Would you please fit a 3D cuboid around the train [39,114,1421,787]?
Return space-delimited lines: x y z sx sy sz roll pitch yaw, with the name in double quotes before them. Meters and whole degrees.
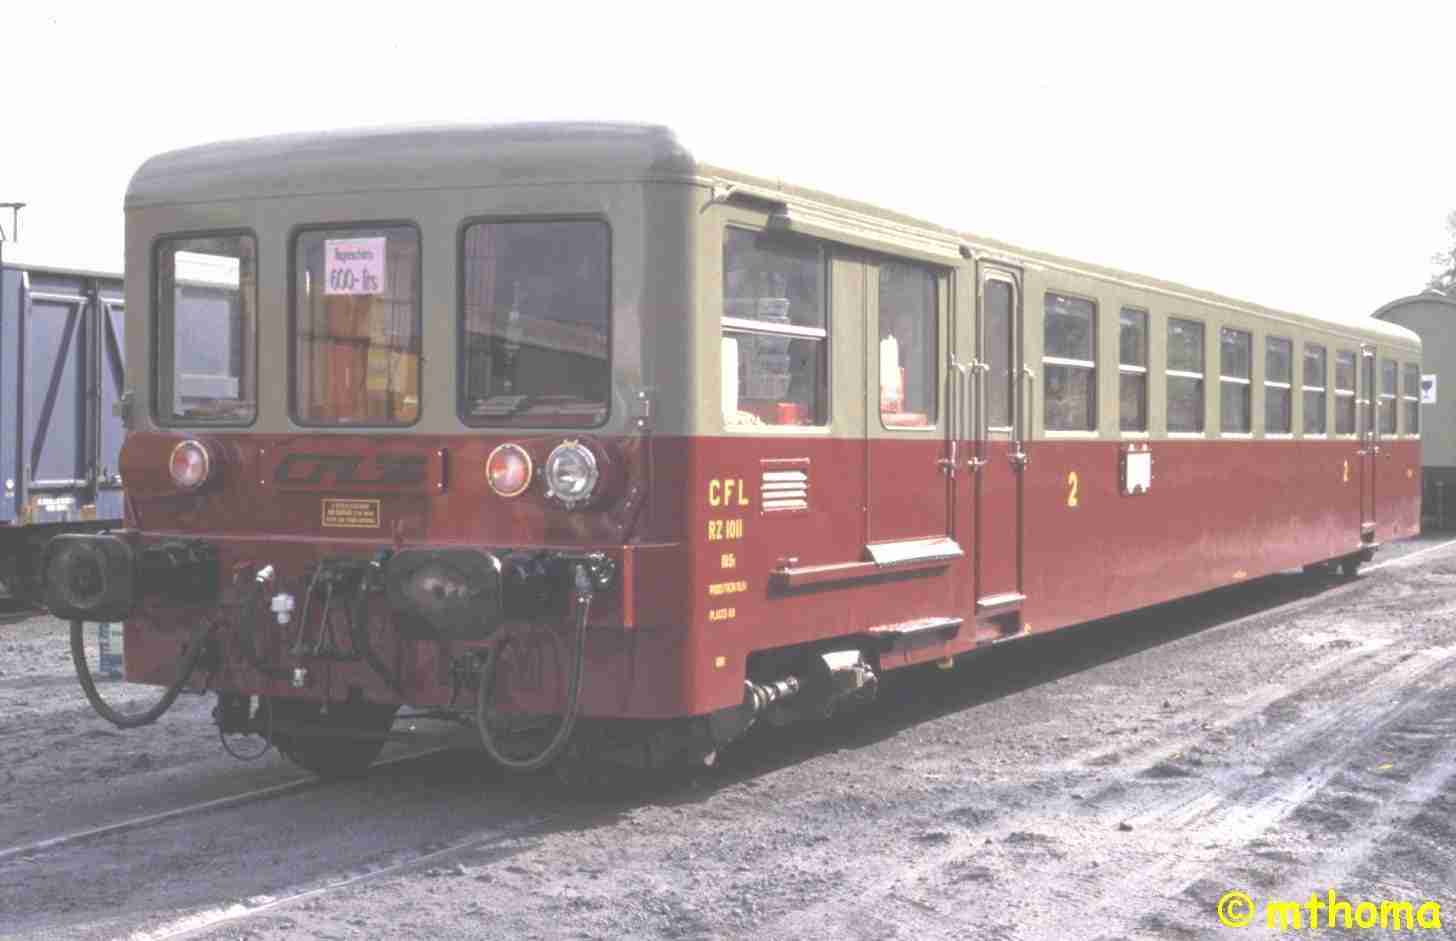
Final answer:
"train" 1.854 -0.215 11.122 3.950 3.326 12.869 -1 -1 31
